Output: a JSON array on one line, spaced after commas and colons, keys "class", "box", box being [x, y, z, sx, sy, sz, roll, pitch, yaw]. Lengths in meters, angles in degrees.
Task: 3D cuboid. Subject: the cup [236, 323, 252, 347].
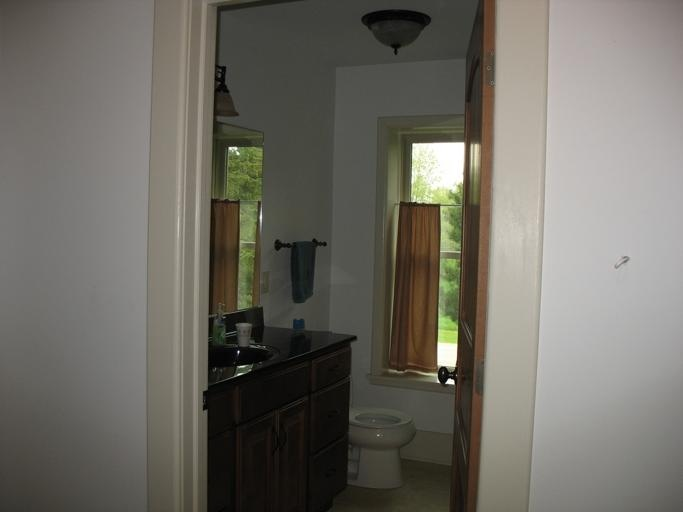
[{"class": "cup", "box": [-0.477, 0.382, 2.763, 0.090, 0.114, 0.095, 0, -1, 0]}]

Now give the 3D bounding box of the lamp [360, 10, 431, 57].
[{"class": "lamp", "box": [0.302, -1.231, 3.095, 0.225, 0.121, 0.243, 1, 2, 0]}]

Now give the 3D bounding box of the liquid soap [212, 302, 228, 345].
[{"class": "liquid soap", "box": [-0.598, 0.328, 2.744, 0.057, 0.188, 0.076, 0, 4, -17]}]

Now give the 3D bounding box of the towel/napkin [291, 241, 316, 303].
[{"class": "towel/napkin", "box": [-0.246, 0.092, 3.570, 0.061, 0.426, 0.349, 4, 4, 25]}]

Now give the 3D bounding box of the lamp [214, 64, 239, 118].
[{"class": "lamp", "box": [-0.539, -0.779, 2.653, 0.100, 0.240, 0.187, 1, 4, -12]}]

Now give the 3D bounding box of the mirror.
[{"class": "mirror", "box": [-0.567, -0.208, 3.081, 0.094, 1.003, 0.503, 3, 4, 20]}]
